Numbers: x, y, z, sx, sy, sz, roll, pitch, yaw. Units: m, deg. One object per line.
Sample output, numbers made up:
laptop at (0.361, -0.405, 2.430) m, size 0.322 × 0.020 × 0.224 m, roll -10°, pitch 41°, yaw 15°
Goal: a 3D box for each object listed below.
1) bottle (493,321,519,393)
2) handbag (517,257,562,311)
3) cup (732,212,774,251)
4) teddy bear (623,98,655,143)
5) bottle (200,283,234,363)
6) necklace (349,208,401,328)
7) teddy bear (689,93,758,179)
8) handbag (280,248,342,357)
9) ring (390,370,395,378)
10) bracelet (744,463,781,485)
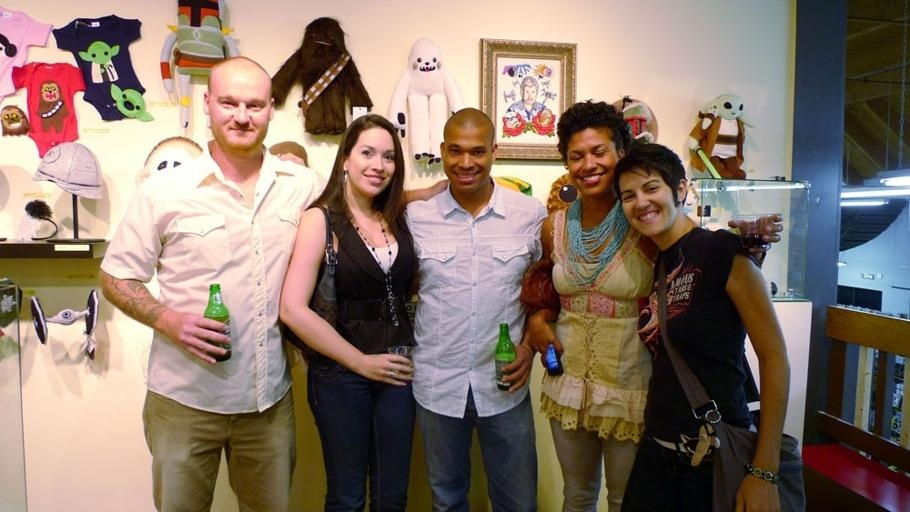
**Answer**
bottle at (0.322, 0.613, 3.868) m, size 0.126 × 0.405 × 0.147 m, roll 0°, pitch 8°, yaw 5°
handbag at (0.531, 0.179, 3.934) m, size 0.259 × 0.316 × 0.118 m, roll -2°, pitch -11°, yaw 15°
cup at (1.903, -0.163, 3.978) m, size 0.294 × 0.213 × 0.242 m, roll 0°, pitch -8°, yaw 2°
teddy bear at (1.347, -1.000, 4.748) m, size 0.272 × 0.106 × 0.194 m, roll -45°, pitch 20°, yaw -22°
bottle at (-1.397, 0.397, 3.687) m, size 0.140 × 0.476 × 0.143 m, roll -1°, pitch 9°, yaw 0°
necklace at (-0.422, 0.056, 3.844) m, size 0.247 × 0.746 × 0.043 m, roll -14°, pitch 4°, yaw -6°
teddy bear at (2.080, -0.952, 4.891) m, size 0.499 × 0.649 × 0.397 m, roll 1°, pitch 13°, yaw 1°
handbag at (-0.882, 0.277, 3.895) m, size 0.253 × 0.608 × 0.370 m, roll 12°, pitch 4°, yaw -10°
ring at (-0.375, 0.710, 3.800) m, size 0.053 × 0.046 × 0.013 m, roll 2°, pitch -5°, yaw -24°
bracelet at (1.719, 1.188, 3.478) m, size 0.130 × 0.041 × 0.131 m, roll 10°, pitch -11°, yaw 41°
